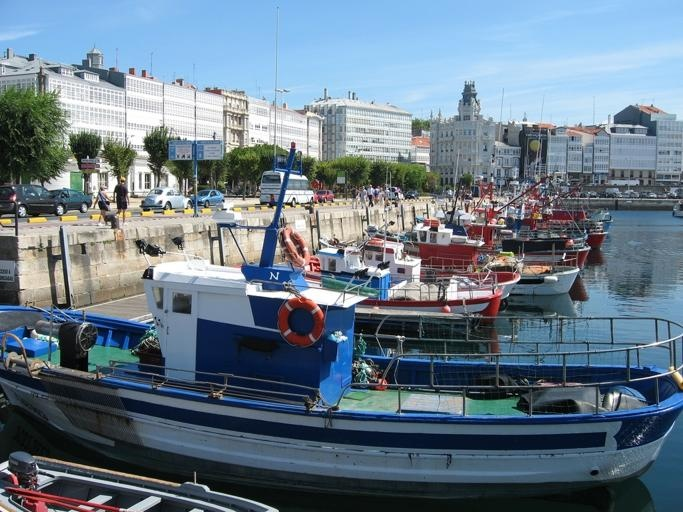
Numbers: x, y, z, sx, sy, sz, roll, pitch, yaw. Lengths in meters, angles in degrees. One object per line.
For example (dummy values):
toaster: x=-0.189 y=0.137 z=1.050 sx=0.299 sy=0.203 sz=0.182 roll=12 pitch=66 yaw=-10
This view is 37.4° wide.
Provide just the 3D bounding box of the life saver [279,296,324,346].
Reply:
life saver: x=-0.764 y=1.249 z=18.708 sx=0.836 sy=0.971 sz=0.294 roll=6 pitch=8 yaw=-4

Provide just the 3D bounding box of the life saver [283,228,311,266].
life saver: x=-0.957 y=-0.150 z=20.027 sx=0.187 sy=0.682 sz=0.690 roll=-25 pitch=-5 yaw=19

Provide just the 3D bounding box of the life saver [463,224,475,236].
life saver: x=4.326 y=-0.890 z=34.404 sx=0.478 sy=0.476 sz=0.890 roll=1 pitch=6 yaw=7

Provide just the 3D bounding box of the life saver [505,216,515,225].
life saver: x=7.289 y=-1.554 z=43.691 sx=0.374 sy=0.268 sz=0.370 roll=1 pitch=13 yaw=-2
